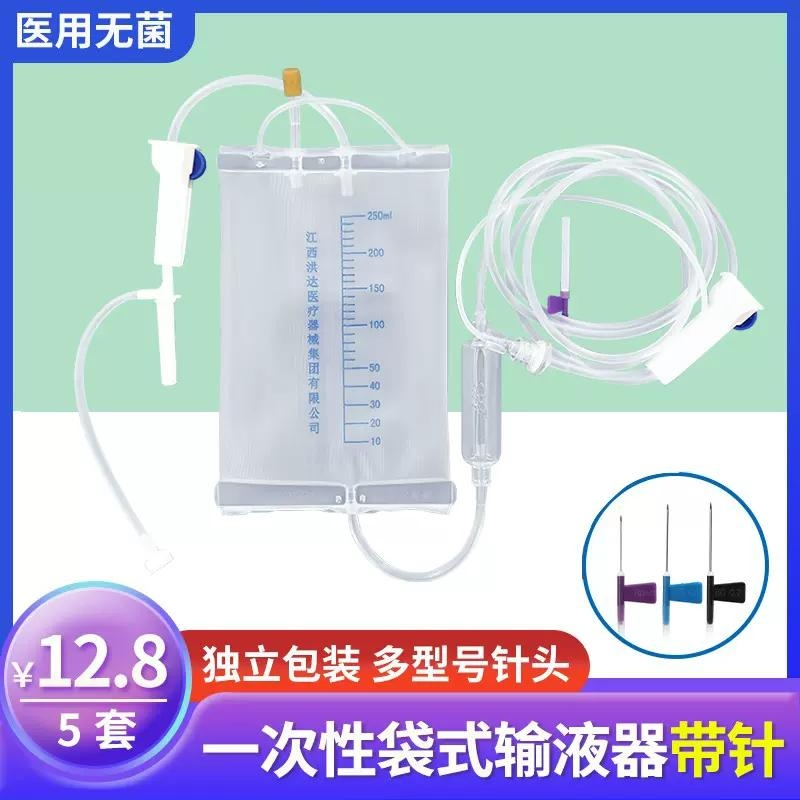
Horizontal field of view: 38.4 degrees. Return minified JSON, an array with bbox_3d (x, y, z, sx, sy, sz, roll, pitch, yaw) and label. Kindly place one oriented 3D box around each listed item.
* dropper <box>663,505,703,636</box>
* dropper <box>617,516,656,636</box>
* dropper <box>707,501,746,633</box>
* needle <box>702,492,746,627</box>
[{"bbox_3d":[0.642,0.393,2.589,0.090,0.334,0.022,6,32,23],"label":"dropper"},{"bbox_3d":[0.551,0.423,2.661,0.096,0.035,0.322,2,48,11],"label":"dropper"},{"bbox_3d":[0.741,0.376,2.597,0.089,0.327,0.022,2,26,19],"label":"dropper"},{"bbox_3d":[0.763,0.387,2.674,0.092,0.024,0.335,-4,51,20],"label":"needle"}]
